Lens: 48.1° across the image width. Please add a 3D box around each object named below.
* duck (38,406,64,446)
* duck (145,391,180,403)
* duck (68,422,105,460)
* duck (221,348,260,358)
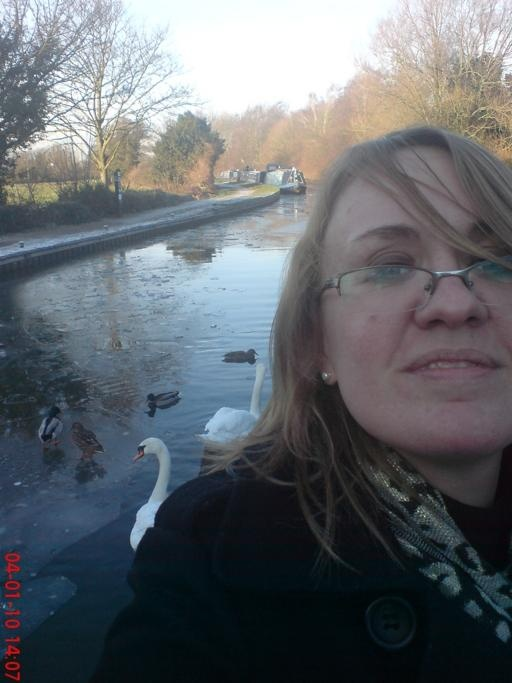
[{"bbox_3d":[-2.692,1.129,7.509,0.177,0.265,0.444,4,48,10],"label":"duck"},{"bbox_3d":[-1.345,0.809,8.460,0.532,0.160,0.214,-5,-6,-31],"label":"duck"},{"bbox_3d":[-2.156,1.221,7.112,0.266,0.367,0.610,-27,29,-11],"label":"duck"},{"bbox_3d":[-0.271,0.210,10.310,0.642,0.255,0.211,1,14,11],"label":"duck"}]
